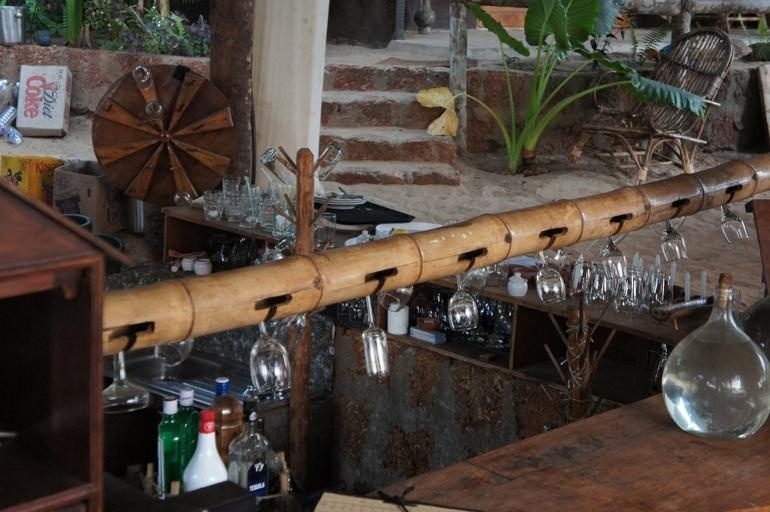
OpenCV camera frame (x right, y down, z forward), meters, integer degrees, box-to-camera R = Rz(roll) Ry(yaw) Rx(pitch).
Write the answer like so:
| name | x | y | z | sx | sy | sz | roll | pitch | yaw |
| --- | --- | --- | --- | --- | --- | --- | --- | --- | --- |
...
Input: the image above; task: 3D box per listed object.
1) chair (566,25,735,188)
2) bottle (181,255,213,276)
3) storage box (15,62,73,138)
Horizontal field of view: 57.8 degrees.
| name | x | y | z | sx | sy | sz | roll | pitch | yaw |
| --- | --- | --- | --- | --- | --- | --- | --- | --- | --- |
| chair | 2.681 | -1.560 | 7.057 | 1.230 | 1.455 | 1.102 | -7 | 31 | -15 |
| bottle | -1.199 | 0.058 | 4.443 | 0.112 | 0.068 | 0.189 | -4 | 10 | -37 |
| storage box | -3.883 | -1.767 | 7.953 | 0.598 | 0.760 | 0.390 | -3 | 27 | -4 |
